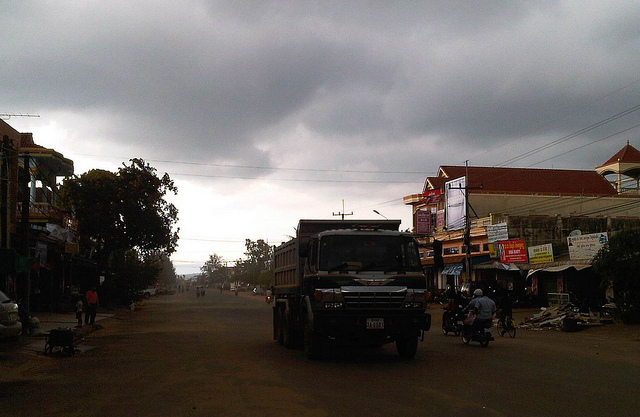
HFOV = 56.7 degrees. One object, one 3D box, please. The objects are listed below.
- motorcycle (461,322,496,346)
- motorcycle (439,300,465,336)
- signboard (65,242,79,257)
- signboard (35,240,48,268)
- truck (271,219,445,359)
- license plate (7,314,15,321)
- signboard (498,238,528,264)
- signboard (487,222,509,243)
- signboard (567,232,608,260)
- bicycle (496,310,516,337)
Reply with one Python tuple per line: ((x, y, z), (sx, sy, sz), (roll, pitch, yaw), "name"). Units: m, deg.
((6.146, 4.969, 23.224), (0.608, 0.752, 1.318), (5, -3, -16), "motorcycle")
((5.845, 5.001, 26.483), (1.067, 1.400, 2.429), (9, -8, -2), "motorcycle")
((-15.856, 2.687, 37.752), (1.079, 0.704, 0.577), (1, -5, -18), "signboard")
((-18.842, 3.174, 39.948), (0.757, 1.726, 3.167), (4, -11, -24), "signboard")
((0.662, 3.003, 21.937), (3.414, 3.421, 7.434), (2, -12, -13), "truck")
((-10.294, 3.644, 19.708), (0.176, 0.231, 0.177), (-10, -8, 41), "license plate")
((15.645, 3.525, 48.083), (0.375, 1.999, 2.977), (4, -11, -22), "signboard")
((15.468, 2.176, 51.471), (0.696, 1.588, 2.539), (2, -10, -12), "signboard")
((17.792, 2.573, 39.613), (0.506, 1.676, 3.160), (3, -11, -17), "signboard")
((8.514, 5.287, 27.192), (0.654, 1.198, 1.657), (-2, -10, 13), "bicycle")
